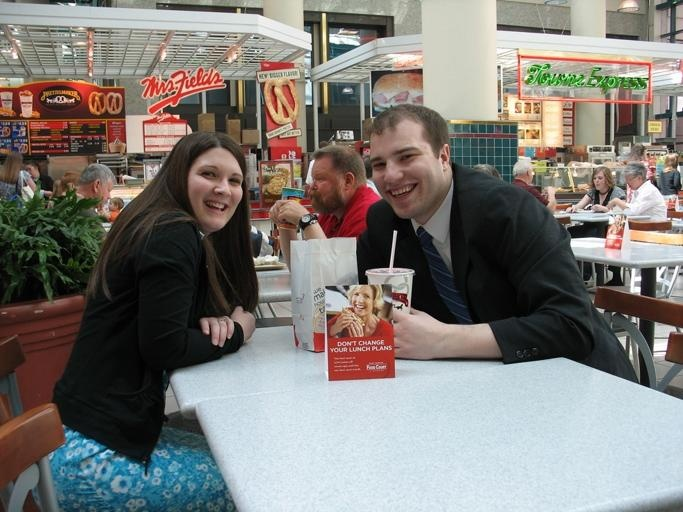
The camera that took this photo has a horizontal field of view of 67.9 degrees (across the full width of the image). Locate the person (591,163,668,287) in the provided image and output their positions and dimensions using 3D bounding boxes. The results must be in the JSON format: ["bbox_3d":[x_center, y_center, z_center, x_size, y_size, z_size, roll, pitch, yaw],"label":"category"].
[{"bbox_3d":[4.324,-0.567,7.436,0.883,1.544,0.664,-6,16,21],"label":"person"}]

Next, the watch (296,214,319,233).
[{"bbox_3d":[-0.136,-0.141,2.197,0.090,0.057,0.085,-29,-19,6],"label":"watch"}]

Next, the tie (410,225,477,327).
[{"bbox_3d":[0.337,0.066,1.758,0.250,0.272,0.258,-28,2,2],"label":"tie"}]

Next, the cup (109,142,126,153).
[{"bbox_3d":[-4.612,-2.185,10.496,0.300,0.206,0.238,0,10,-10],"label":"cup"}]

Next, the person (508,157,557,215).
[{"bbox_3d":[2.752,-0.890,7.382,0.638,1.010,0.678,-8,14,-6],"label":"person"}]

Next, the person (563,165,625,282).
[{"bbox_3d":[4.109,-0.548,8.150,1.004,1.690,0.727,-4,5,-8],"label":"person"}]

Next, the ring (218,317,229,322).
[{"bbox_3d":[-0.365,0.197,1.576,0.013,0.010,0.019,-4,4,33],"label":"ring"}]

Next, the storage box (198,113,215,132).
[{"bbox_3d":[-2.684,-2.680,10.148,0.271,0.357,0.422,-3,7,-20],"label":"storage box"}]

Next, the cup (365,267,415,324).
[{"bbox_3d":[0.140,0.099,1.338,0.117,0.092,0.120,0,2,0],"label":"cup"}]
